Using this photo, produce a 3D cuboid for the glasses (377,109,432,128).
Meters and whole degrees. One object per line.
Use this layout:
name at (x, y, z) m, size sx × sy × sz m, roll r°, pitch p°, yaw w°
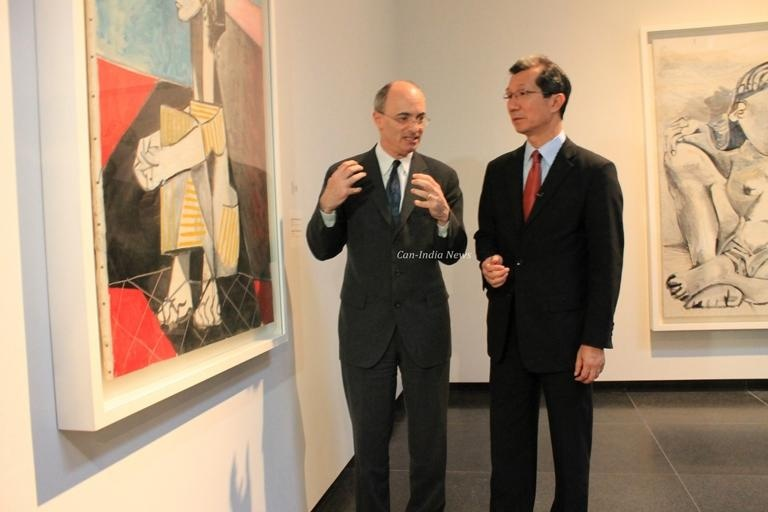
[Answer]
glasses at (0.093, -0.712, 3.587) m, size 0.260 × 0.081 × 0.126 m, roll -2°, pitch 10°, yaw 0°
